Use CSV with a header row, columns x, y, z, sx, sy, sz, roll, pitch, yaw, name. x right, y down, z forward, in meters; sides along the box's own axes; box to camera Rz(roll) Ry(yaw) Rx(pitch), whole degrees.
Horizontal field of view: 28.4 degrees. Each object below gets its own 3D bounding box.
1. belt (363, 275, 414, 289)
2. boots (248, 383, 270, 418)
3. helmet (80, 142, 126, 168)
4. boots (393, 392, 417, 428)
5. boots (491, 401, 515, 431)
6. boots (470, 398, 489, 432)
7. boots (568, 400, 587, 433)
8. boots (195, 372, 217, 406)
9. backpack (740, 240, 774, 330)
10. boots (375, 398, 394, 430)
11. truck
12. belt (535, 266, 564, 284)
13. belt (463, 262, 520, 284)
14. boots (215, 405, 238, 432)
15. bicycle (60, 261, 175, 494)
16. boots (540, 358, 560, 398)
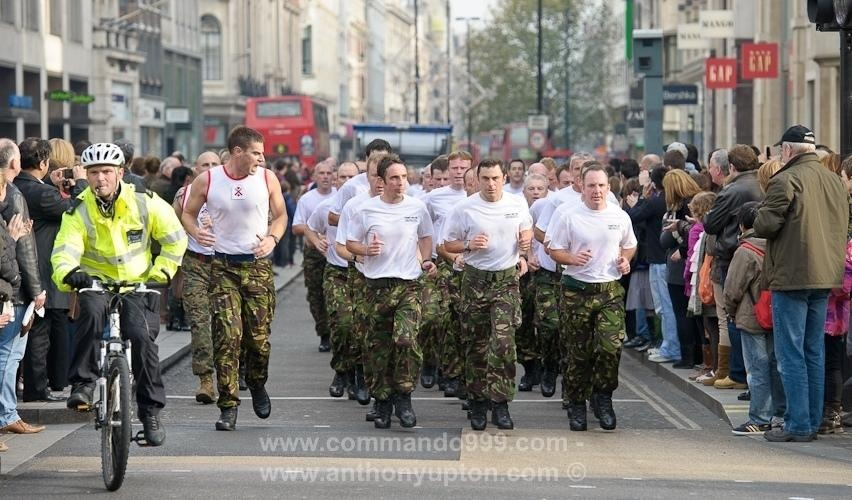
x,y,z,sx,sy,sz,roll,pitch,yaw,name
-0.442,0.429,21.739,0.658,0.151,0.105,0,13,2,belt
-2.149,1.996,21.958,0.190,0.539,0.235,-18,9,1,boots
-3.889,-1.148,20.225,0.467,0.317,0.416,-3,13,-14,helmet
-0.273,2.070,21.758,0.299,0.445,0.383,-1,13,-1,boots
0.981,2.128,21.703,0.279,0.362,0.308,0,13,2,boots
0.676,2.132,21.643,0.214,0.355,0.316,-1,13,-2,boots
1.959,2.161,21.713,0.225,0.349,0.325,2,13,8,boots
-2.967,1.989,23.006,0.225,0.358,0.520,-1,-21,1,boots
4.261,0.497,21.579,0.282,0.997,0.273,-2,0,14,backpack
-0.558,2.107,21.816,0.230,0.345,0.361,-1,13,-2,boots
-0.631,-2.692,42.439,2.807,1.244,1.687,0,-1,0,truck
1.693,0.355,23.294,0.263,0.164,0.251,1,-2,-5,belt
0.859,0.316,21.868,0.757,0.260,0.266,0,13,1,belt
-2.580,2.153,21.696,0.265,0.297,0.461,-2,13,-6,boots
-3.602,1.576,19.891,0.748,2.319,1.275,-3,13,-10,bicycle
1.709,1.788,23.456,0.194,0.575,0.241,1,10,7,boots
